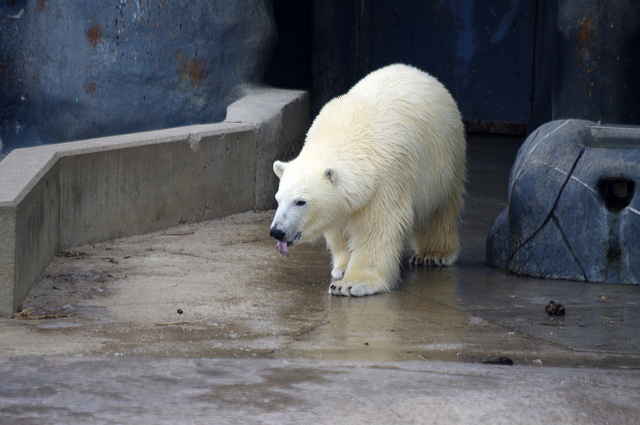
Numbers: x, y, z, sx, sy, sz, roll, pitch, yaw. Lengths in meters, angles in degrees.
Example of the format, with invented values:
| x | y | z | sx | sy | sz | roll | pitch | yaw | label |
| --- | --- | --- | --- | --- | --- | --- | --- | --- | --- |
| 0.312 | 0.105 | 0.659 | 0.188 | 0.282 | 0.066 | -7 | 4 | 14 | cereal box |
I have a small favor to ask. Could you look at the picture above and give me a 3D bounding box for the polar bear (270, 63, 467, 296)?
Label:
| x | y | z | sx | sy | sz | roll | pitch | yaw | label |
| --- | --- | --- | --- | --- | --- | --- | --- | --- | --- |
| 0.402 | -0.305 | 7.879 | 1.844 | 1.735 | 0.884 | -3 | 10 | -45 | polar bear |
